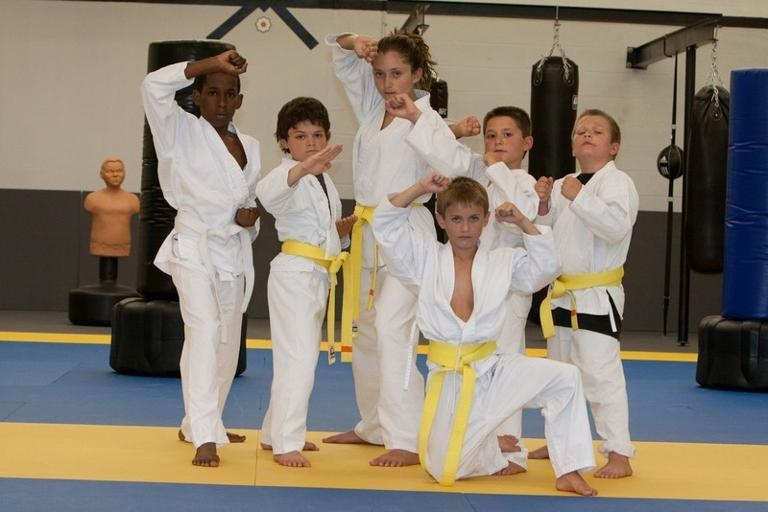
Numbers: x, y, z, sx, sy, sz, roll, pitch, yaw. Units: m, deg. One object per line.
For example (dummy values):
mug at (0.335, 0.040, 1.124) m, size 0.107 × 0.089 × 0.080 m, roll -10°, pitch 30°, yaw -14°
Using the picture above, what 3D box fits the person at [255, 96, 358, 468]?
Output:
person at (-0.621, 0.163, 6.582) m, size 0.741 × 2.755 × 0.941 m, roll 1°, pitch 9°, yaw -4°

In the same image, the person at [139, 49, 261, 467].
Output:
person at (-1.324, -0.015, 6.514) m, size 0.808 × 3.031 × 0.884 m, roll -4°, pitch 11°, yaw -32°

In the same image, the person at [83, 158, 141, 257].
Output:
person at (-3.659, -0.630, 11.457) m, size 0.676 × 1.326 × 0.278 m, roll -1°, pitch 10°, yaw -17°
